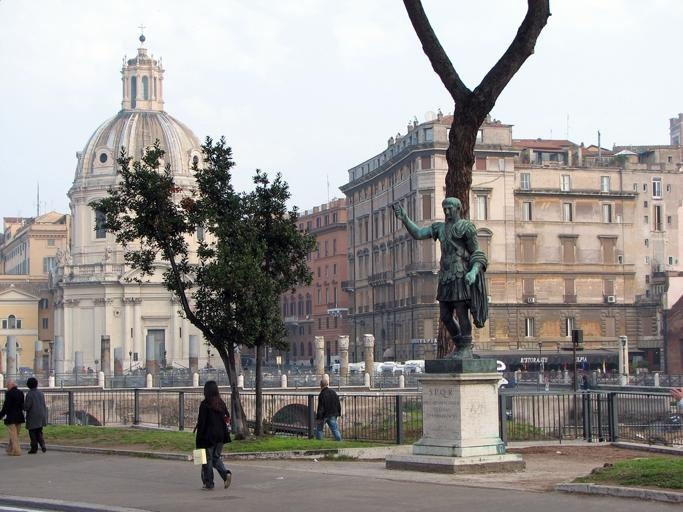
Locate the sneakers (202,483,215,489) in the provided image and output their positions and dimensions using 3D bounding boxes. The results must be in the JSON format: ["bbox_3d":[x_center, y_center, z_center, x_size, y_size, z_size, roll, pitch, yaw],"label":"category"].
[{"bbox_3d":[-4.100,7.132,50.172,0.380,0.209,0.273,2,-9,-15],"label":"sneakers"}]

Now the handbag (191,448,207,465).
[{"bbox_3d":[-4.345,6.187,50.110,0.404,0.492,0.380,0,-9,-7],"label":"handbag"}]

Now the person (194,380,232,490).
[{"bbox_3d":[-3.975,5.555,50.436,1.075,3.403,0.888,1,-9,-13],"label":"person"}]

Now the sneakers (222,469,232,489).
[{"bbox_3d":[-3.517,6.920,50.081,0.197,0.546,0.242,3,4,-16],"label":"sneakers"}]
